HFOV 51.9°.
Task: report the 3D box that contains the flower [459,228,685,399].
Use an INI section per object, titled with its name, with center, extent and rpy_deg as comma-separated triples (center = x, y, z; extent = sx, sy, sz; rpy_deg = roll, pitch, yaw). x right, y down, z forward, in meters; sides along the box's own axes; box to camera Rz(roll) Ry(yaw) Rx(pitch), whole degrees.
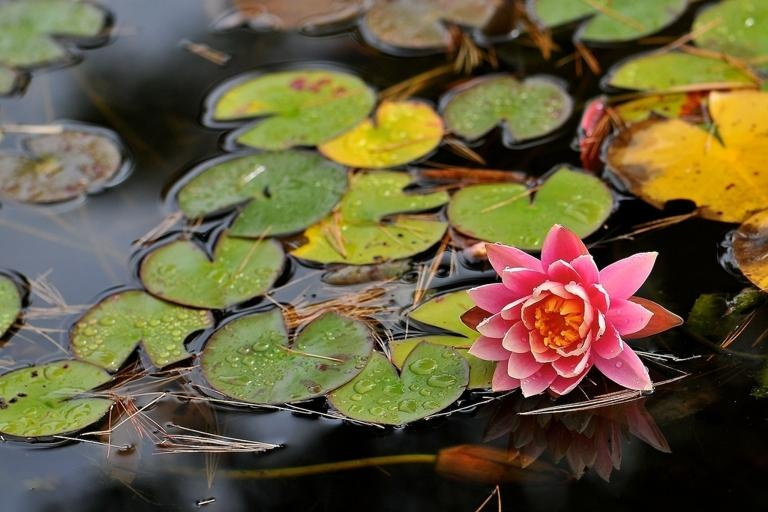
[flower]
center = 0.517, 0.171, 2.076
extent = 0.175, 0.516, 0.455
rpy_deg = 23, 94, -13
